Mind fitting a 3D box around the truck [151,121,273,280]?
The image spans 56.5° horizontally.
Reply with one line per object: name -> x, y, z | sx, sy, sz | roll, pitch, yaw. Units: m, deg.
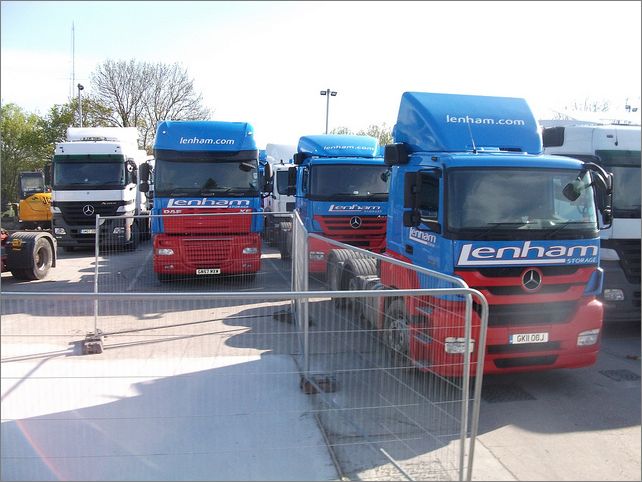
truck -> -2.411, -0.840, 13.060 | 1.550, 2.188, 4.364 | 0, 2, -8

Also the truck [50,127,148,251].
truck -> -7.831, -1.647, 21.221 | 2.553, 3.919, 7.451 | 0, 0, -14

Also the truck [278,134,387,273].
truck -> 0.166, -1.031, 16.214 | 2.219, 3.316, 6.289 | 0, -2, -10

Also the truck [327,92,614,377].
truck -> 1.757, -0.384, 10.629 | 2.669, 3.791, 7.181 | 0, 3, -12

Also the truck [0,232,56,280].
truck -> -6.826, 0.388, 13.924 | 0.584, 1.116, 1.338 | 4, 14, 3
